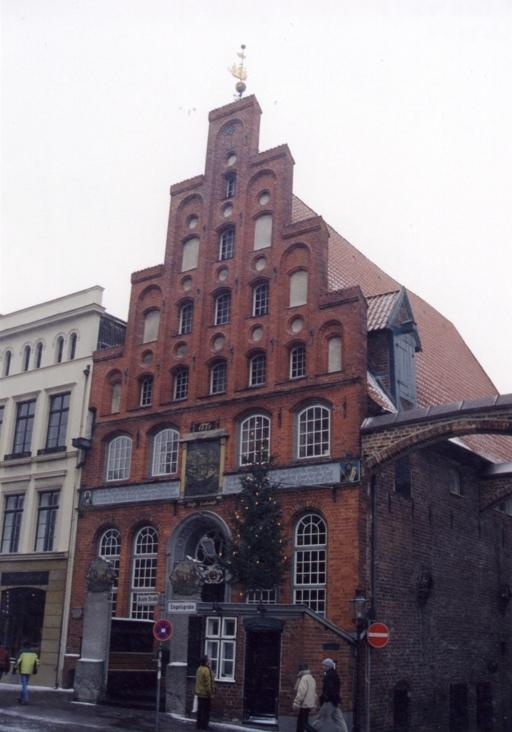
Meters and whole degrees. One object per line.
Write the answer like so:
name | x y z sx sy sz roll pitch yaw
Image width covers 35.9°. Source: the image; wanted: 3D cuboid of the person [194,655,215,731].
person | -1.090 6.961 16.831 0.382 1.423 0.728 3 -21 -1

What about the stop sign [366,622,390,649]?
stop sign | 2.659 5.855 17.250 0.362 0.456 0.488 4 -20 -5
